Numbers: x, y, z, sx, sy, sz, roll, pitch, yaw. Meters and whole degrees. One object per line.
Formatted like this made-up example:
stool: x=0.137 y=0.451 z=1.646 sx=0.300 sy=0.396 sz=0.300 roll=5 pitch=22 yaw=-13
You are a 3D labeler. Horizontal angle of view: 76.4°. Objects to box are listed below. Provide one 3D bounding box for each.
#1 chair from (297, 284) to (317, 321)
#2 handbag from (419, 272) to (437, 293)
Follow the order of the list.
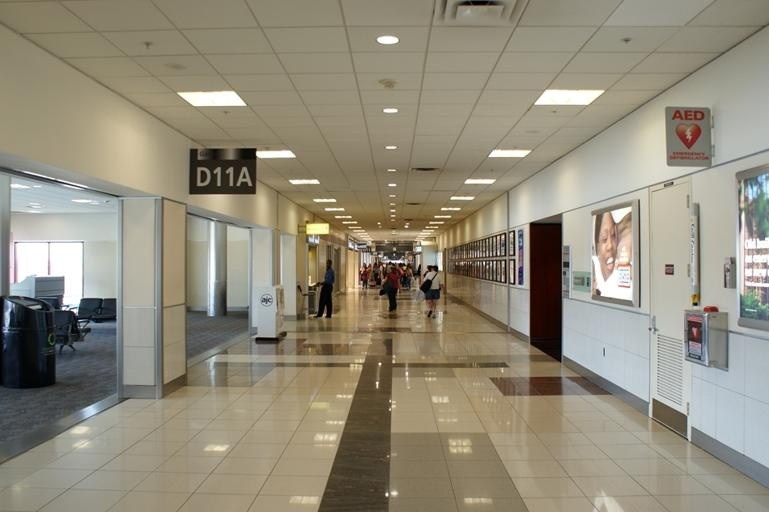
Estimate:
chair: x=-2.784 y=1.654 z=17.366 sx=0.472 sy=0.823 sz=1.278 roll=-1 pitch=-1 yaw=4
handbag: x=1.513 y=0.946 z=17.279 sx=0.547 sy=0.702 sz=0.333 roll=2 pitch=6 yaw=25
